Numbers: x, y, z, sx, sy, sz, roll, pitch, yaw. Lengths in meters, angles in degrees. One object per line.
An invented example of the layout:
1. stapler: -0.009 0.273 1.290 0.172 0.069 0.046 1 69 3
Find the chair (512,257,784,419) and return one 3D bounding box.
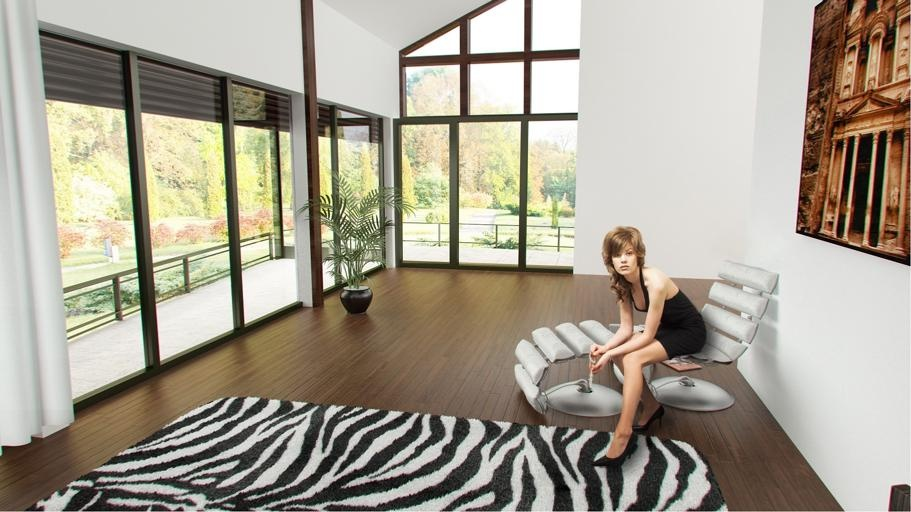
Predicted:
1. chair: 1.960 0.889 5.454 2.661 1.406 1.288 0 3 2

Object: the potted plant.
1. potted plant: -1.613 -0.206 8.461 2.086 2.452 2.162 2 -3 -44
